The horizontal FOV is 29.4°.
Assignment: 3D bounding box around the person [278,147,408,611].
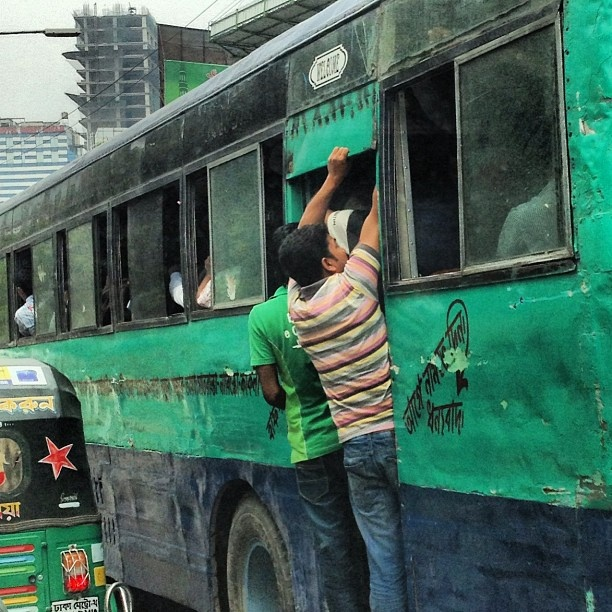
[{"bbox_3d":[0.211,0.426,5.347,0.286,2.019,0.594,-5,0,-29],"label":"person"}]
